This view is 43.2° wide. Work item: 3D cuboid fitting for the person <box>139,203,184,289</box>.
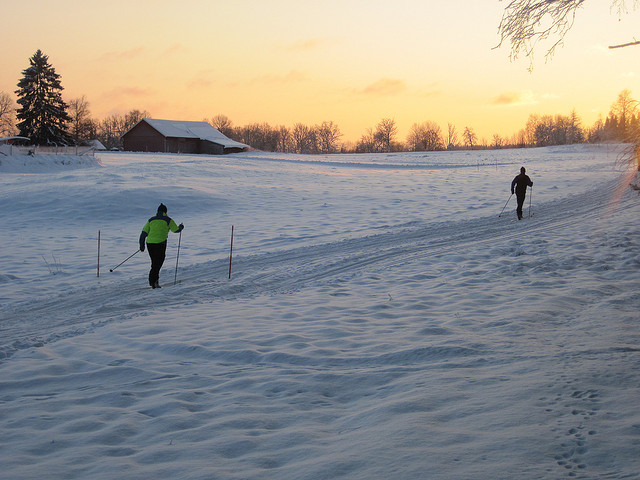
[{"bbox_3d":[-4.060,0.136,20.647,0.998,2.025,1.233,-1,6,-9],"label":"person"}]
